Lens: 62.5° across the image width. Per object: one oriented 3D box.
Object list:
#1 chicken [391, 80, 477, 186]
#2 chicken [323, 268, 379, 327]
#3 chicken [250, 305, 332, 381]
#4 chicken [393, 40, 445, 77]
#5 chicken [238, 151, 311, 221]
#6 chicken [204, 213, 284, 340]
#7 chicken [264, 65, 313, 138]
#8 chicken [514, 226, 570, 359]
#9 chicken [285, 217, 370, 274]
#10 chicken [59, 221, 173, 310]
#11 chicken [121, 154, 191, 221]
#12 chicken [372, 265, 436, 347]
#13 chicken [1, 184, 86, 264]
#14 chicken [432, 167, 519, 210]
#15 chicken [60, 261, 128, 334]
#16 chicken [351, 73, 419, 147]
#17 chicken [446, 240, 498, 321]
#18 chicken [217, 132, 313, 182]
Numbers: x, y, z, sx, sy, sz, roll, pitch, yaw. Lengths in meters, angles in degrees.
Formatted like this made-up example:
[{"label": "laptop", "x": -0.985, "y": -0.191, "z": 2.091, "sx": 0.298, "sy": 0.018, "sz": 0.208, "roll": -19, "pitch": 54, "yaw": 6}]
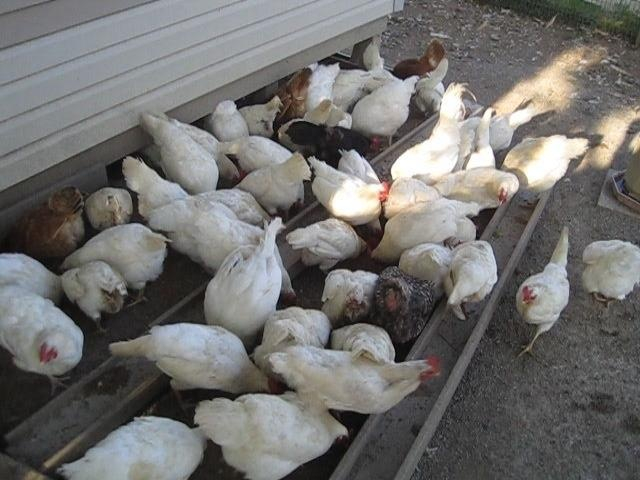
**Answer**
[{"label": "chicken", "x": 0.852, "y": -0.806, "z": 4.047, "sx": 0.486, "sy": 0.852, "sz": 0.284, "roll": 10, "pitch": 16, "yaw": -30}, {"label": "chicken", "x": 0.159, "y": 0.312, "z": 3.093, "sx": 0.318, "sy": 0.270, "sz": 0.138, "roll": -12, "pitch": 16, "yaw": 24}, {"label": "chicken", "x": -0.130, "y": 0.478, "z": 2.883, "sx": 0.285, "sy": 0.177, "sz": 0.411, "roll": 16, "pitch": 30, "yaw": 19}, {"label": "chicken", "x": 0.876, "y": -1.634, "z": 4.758, "sx": 0.571, "sy": 0.328, "sz": 0.207, "roll": -9, "pitch": 22, "yaw": -19}, {"label": "chicken", "x": -0.209, "y": -0.358, "z": 3.468, "sx": 0.688, "sy": 0.344, "sz": 0.254, "roll": -2, "pitch": 30, "yaw": 41}, {"label": "chicken", "x": -0.417, "y": 0.249, "z": 3.047, "sx": 0.273, "sy": 0.322, "sz": 0.881, "roll": 25, "pitch": 75, "yaw": -18}, {"label": "chicken", "x": -0.198, "y": -1.136, "z": 4.256, "sx": 0.199, "sy": 0.254, "sz": 0.678, "roll": 20, "pitch": 88, "yaw": 27}, {"label": "chicken", "x": 1.409, "y": 0.366, "z": 3.373, "sx": 0.222, "sy": 0.503, "sz": 0.708, "roll": 19, "pitch": 55, "yaw": 28}, {"label": "chicken", "x": 0.024, "y": 0.036, "z": 3.381, "sx": 0.486, "sy": 0.331, "sz": 0.286, "roll": -6, "pitch": 71, "yaw": -36}, {"label": "chicken", "x": -1.174, "y": 0.074, "z": 3.269, "sx": 0.617, "sy": 0.462, "sz": 0.369, "roll": -9, "pitch": 47, "yaw": 1}, {"label": "chicken", "x": -1.022, "y": -0.286, "z": 3.320, "sx": 0.263, "sy": 0.200, "sz": 0.487, "roll": -40, "pitch": 83, "yaw": -19}, {"label": "chicken", "x": 0.457, "y": 0.344, "z": 3.047, "sx": 0.294, "sy": 0.443, "sz": 0.413, "roll": 14, "pitch": 39, "yaw": 20}, {"label": "chicken", "x": -1.639, "y": -0.064, "z": 3.227, "sx": 0.348, "sy": 0.574, "sz": 0.228, "roll": 34, "pitch": 16, "yaw": -12}, {"label": "chicken", "x": 1.065, "y": -0.371, "z": 3.681, "sx": 0.504, "sy": 0.335, "sz": 0.386, "roll": 4, "pitch": 17, "yaw": 7}, {"label": "chicken", "x": -1.249, "y": 0.300, "z": 3.083, "sx": 0.426, "sy": 0.234, "sz": 0.420, "roll": 0, "pitch": 74, "yaw": 13}, {"label": "chicken", "x": 0.530, "y": -1.061, "z": 4.236, "sx": 0.573, "sy": 0.337, "sz": 0.232, "roll": -42, "pitch": 21, "yaw": -6}, {"label": "chicken", "x": 0.916, "y": 0.228, "z": 3.139, "sx": 0.239, "sy": 0.284, "sz": 0.523, "roll": -5, "pitch": 45, "yaw": 35}, {"label": "chicken", "x": -0.447, "y": -0.609, "z": 3.670, "sx": 0.447, "sy": 0.275, "sz": 0.299, "roll": 10, "pitch": 6, "yaw": -1}]
